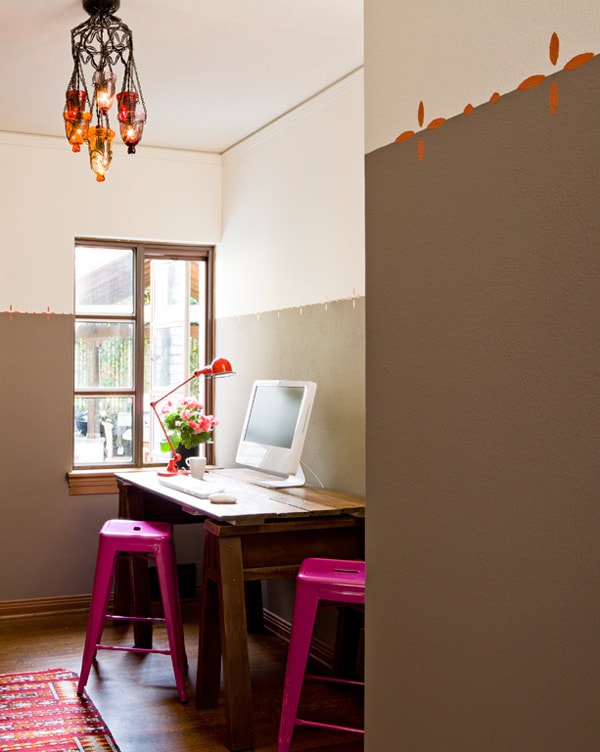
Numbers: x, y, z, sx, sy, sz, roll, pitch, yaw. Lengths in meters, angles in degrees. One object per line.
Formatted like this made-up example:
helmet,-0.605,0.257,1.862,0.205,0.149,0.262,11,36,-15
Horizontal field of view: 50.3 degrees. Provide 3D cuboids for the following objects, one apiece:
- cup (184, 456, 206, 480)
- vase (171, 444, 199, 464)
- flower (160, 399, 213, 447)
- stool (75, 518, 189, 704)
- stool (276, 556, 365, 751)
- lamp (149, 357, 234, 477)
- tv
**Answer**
cup,-0.510,0.495,3.438,0.093,0.124,0.089,1,-2,0
vase,-0.630,0.491,3.921,0.101,0.151,0.135,0,-7,2
flower,-0.589,0.315,3.754,0.245,0.293,0.243,11,9,8
stool,-0.725,1.092,3.044,0.511,0.762,0.594,7,-3,-39
stool,0.095,1.020,2.280,0.288,0.784,0.614,0,-3,5
lamp,-0.591,0.251,3.830,0.432,0.747,0.184,-1,-35,-10
tv,-0.074,0.307,3.264,0.143,0.522,0.433,8,-5,-27
